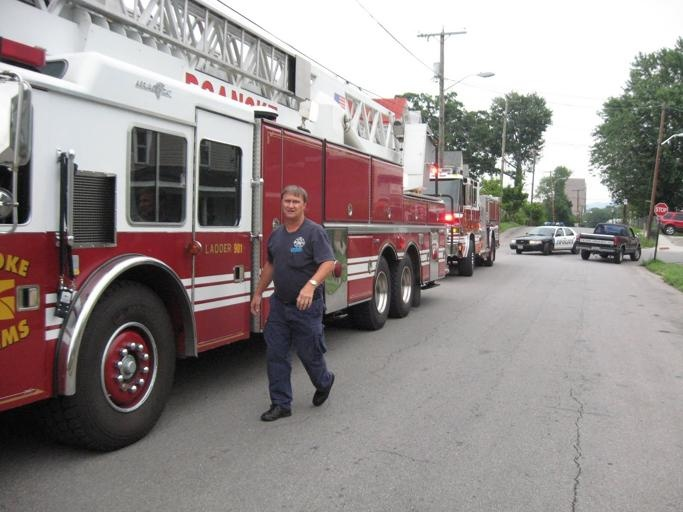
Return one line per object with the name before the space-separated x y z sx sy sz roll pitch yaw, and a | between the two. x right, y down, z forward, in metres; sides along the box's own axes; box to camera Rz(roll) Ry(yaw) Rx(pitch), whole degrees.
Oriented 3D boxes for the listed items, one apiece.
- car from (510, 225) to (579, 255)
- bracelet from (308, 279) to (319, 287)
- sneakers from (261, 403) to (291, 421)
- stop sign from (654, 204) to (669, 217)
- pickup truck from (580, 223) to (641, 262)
car | 11.980 -0.977 30.796 4.840 1.593 1.540 -5 6 -36
bracelet | -0.278 0.249 5.030 0.021 0.079 0.076 -34 31 -10
sneakers | -0.637 1.537 5.166 0.119 0.158 0.321 -6 -12 41
stop sign | 15.772 -2.301 25.725 0.449 0.623 1.267 2 5 29
pickup truck | 14.470 -0.853 27.799 1.745 1.588 3.644 3 6 36
